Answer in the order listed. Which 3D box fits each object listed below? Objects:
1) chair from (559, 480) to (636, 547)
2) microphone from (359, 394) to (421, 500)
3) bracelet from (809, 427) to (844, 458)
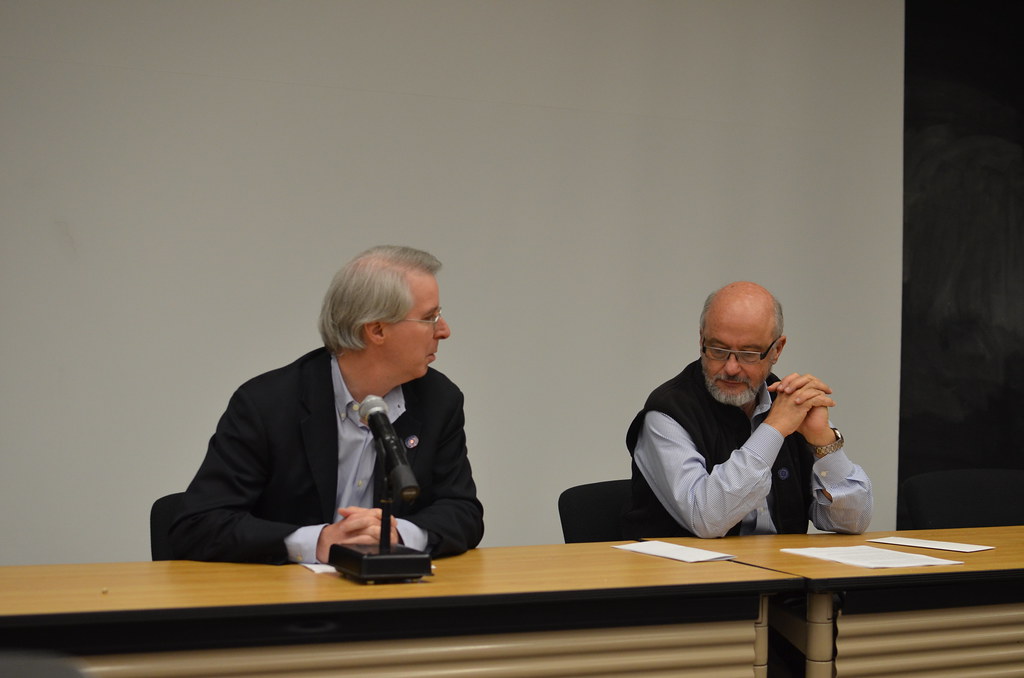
[{"bbox_3d":[0.352,0.730,3.612,0.229,0.325,0.267,-2,-10,-6],"label":"chair"},{"bbox_3d":[-0.379,0.322,2.582,0.163,0.323,0.320,2,-10,-11],"label":"microphone"},{"bbox_3d":[1.251,0.417,3.471,0.086,0.067,0.100,-30,-4,11],"label":"bracelet"}]
